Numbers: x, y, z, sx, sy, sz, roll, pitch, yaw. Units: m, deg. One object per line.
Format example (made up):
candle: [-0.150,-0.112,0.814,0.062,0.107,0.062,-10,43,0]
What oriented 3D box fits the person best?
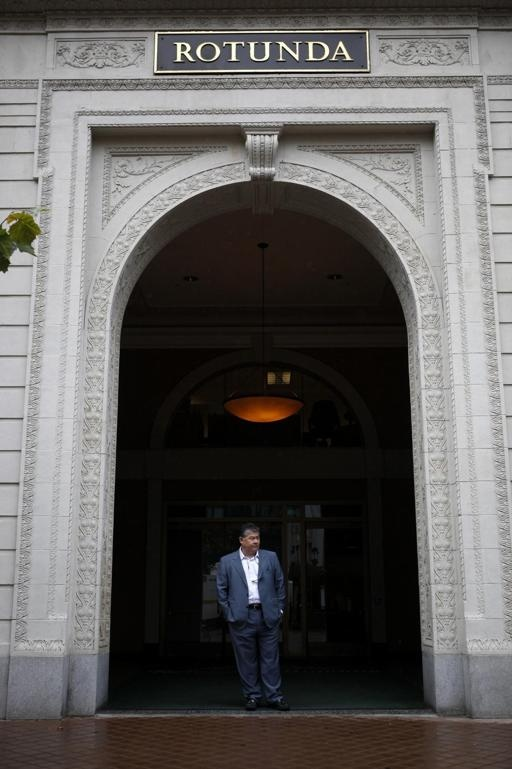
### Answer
person: [-0.050,2.178,7.263,0.621,1.665,0.296,-3,-13,1]

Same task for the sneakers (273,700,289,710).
sneakers: [0.216,2.926,7.010,0.066,0.078,0.181,10,-23,-27]
